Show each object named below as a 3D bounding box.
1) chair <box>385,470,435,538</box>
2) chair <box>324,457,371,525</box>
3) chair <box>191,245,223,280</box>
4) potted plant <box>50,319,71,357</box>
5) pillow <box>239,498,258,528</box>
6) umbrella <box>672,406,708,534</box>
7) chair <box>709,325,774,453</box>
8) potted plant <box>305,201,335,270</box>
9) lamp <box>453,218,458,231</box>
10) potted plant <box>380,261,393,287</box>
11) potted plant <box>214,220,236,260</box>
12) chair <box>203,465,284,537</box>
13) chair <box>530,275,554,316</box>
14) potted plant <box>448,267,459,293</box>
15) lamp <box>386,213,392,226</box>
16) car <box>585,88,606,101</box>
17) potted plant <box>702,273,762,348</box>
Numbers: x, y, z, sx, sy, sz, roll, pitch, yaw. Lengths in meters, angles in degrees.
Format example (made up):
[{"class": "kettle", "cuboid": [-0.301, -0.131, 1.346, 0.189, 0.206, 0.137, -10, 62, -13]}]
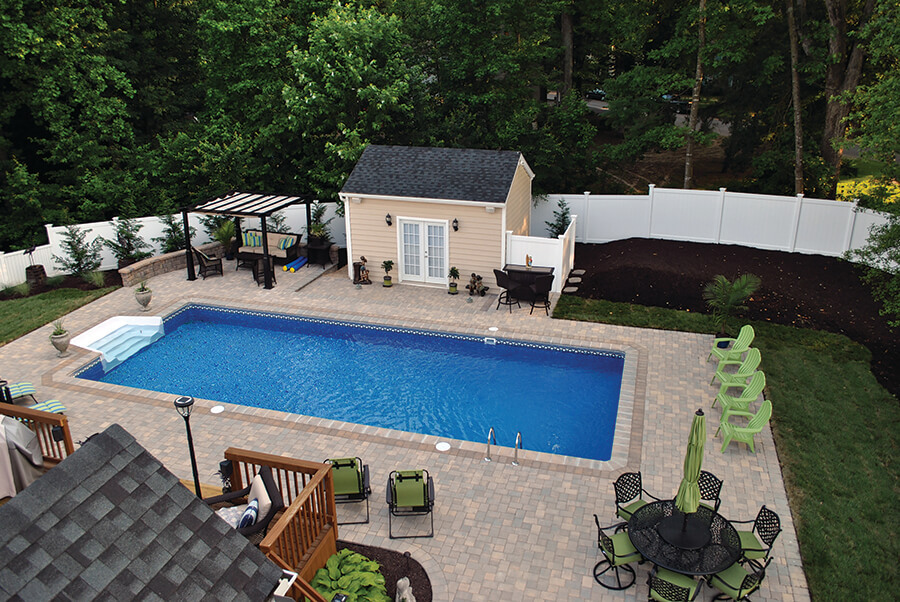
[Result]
[{"class": "chair", "cuboid": [-0.866, 4.350, 13.636, 1.027, 1.259, 0.848, -2, 19, -4]}, {"class": "chair", "cuboid": [-2.143, 4.152, 13.872, 0.823, 1.310, 0.804, -5, 20, -11]}, {"class": "chair", "cuboid": [-9.842, -1.636, 25.689, 1.402, 1.538, 1.101, -8, 28, -24]}, {"class": "potted plant", "cuboid": [-12.185, 1.199, 19.762, 0.462, 0.963, 0.666, -17, 25, -39]}, {"class": "pillow", "cuboid": [-3.883, 4.215, 12.274, 0.216, 0.225, 0.666, 25, 39, -10]}, {"class": "umbrella", "cuboid": [4.772, 3.139, 12.426, 0.497, 2.676, 1.028, 8, 21, 24]}, {"class": "chair", "cuboid": [7.795, 2.492, 16.962, 0.652, 0.913, 3.087, 0, 37, 16]}, {"class": "potted plant", "cuboid": [-5.548, -2.892, 26.921, 1.101, 2.315, 2.616, -4, 19, -9]}, {"class": "lamp", "cuboid": [0.191, -2.752, 23.137, 0.257, 0.461, 0.137, -2, 19, -4]}, {"class": "potted plant", "cuboid": [-2.439, -1.039, 24.292, 0.465, 0.977, 0.527, 1, 19, 7]}, {"class": "potted plant", "cuboid": [-9.531, -2.619, 26.961, 0.735, 1.638, 0.805, -2, 19, -4]}, {"class": "chair", "cuboid": [-4.081, 4.221, 12.800, 1.389, 1.408, 1.240, -12, 49, -27]}, {"class": "chair", "cuboid": [3.180, -0.179, 22.157, 0.977, 2.016, 1.004, 1, 44, 5]}, {"class": "potted plant", "cuboid": [0.125, -0.743, 23.580, 0.405, 0.982, 0.369, -1, 19, 0]}, {"class": "lamp", "cuboid": [-2.317, -3.048, 23.765, 0.283, 0.450, 0.112, 1, 19, 5]}, {"class": "car", "cuboid": [13.909, -20.074, 61.442, 0.969, 1.033, 2.575, -9, 21, -21]}, {"class": "potted plant", "cuboid": [9.083, 0.421, 20.336, 1.525, 1.740, 1.323, -15, 35, -10]}]
